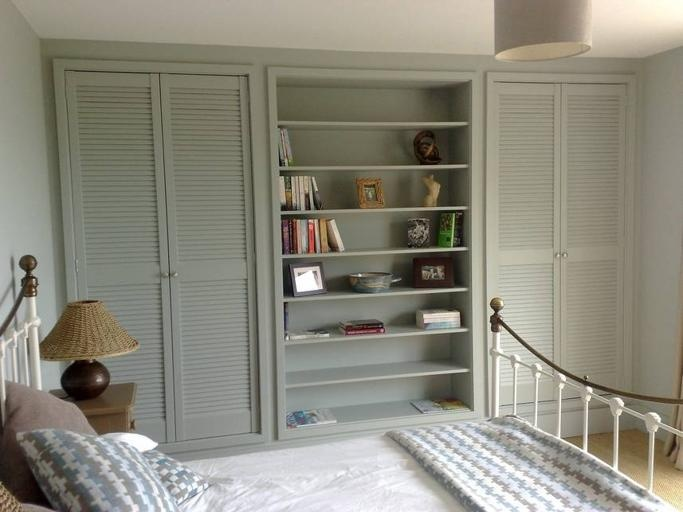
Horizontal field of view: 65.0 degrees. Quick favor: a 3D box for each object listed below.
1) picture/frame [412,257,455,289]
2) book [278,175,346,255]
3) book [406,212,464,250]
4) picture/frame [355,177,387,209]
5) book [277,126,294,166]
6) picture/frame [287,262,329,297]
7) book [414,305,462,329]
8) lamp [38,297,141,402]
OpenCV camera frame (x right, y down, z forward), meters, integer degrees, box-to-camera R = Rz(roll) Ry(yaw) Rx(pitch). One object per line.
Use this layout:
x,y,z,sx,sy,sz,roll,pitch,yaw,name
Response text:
0.681,0.127,3.957,0.279,0.172,0.033,0,-4,-4,picture/frame
-0.221,-0.291,3.753,0.438,0.543,0.165,-4,6,-11,book
0.702,-0.200,4.043,0.419,0.263,0.257,-2,5,0,book
0.201,-0.457,3.879,0.307,0.281,0.041,-1,-5,-23,picture/frame
-0.388,-0.736,3.642,0.076,0.259,0.103,-3,6,7,book
-0.250,0.167,3.813,0.270,0.205,0.026,-8,-11,-40,picture/frame
0.720,0.429,3.987,0.249,0.092,0.163,0,1,-17,book
-1.266,0.466,2.862,0.552,0.457,0.560,-1,0,41,lamp
